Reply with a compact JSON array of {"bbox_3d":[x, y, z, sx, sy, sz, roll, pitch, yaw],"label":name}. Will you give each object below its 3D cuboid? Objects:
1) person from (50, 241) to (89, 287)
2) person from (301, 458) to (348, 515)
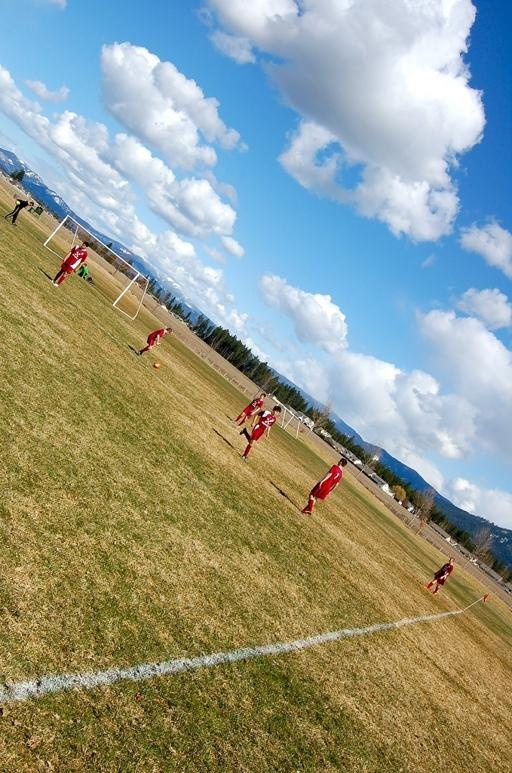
[{"bbox_3d":[-5.421,-3.260,16.421,0.756,0.554,2.063,46,-34,-5],"label":"person"},{"bbox_3d":[1.517,2.225,12.840,0.363,1.477,0.772,33,-1,13],"label":"person"}]
